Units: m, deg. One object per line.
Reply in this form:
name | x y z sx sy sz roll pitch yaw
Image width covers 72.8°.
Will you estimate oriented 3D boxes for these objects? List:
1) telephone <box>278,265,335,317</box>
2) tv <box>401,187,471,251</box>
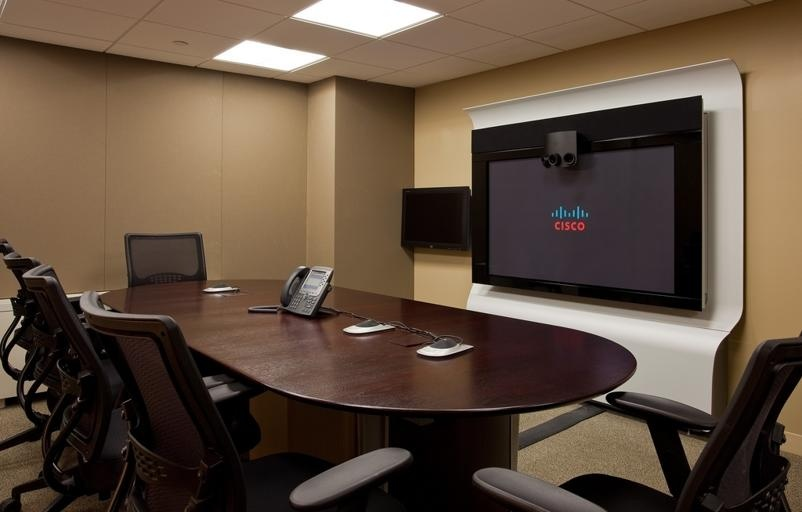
telephone | -0.622 0.251 3.729 0.289 0.373 0.120 1 -29 40
tv | 0.400 -0.420 6.652 0.218 0.865 1.071 -10 15 -41
